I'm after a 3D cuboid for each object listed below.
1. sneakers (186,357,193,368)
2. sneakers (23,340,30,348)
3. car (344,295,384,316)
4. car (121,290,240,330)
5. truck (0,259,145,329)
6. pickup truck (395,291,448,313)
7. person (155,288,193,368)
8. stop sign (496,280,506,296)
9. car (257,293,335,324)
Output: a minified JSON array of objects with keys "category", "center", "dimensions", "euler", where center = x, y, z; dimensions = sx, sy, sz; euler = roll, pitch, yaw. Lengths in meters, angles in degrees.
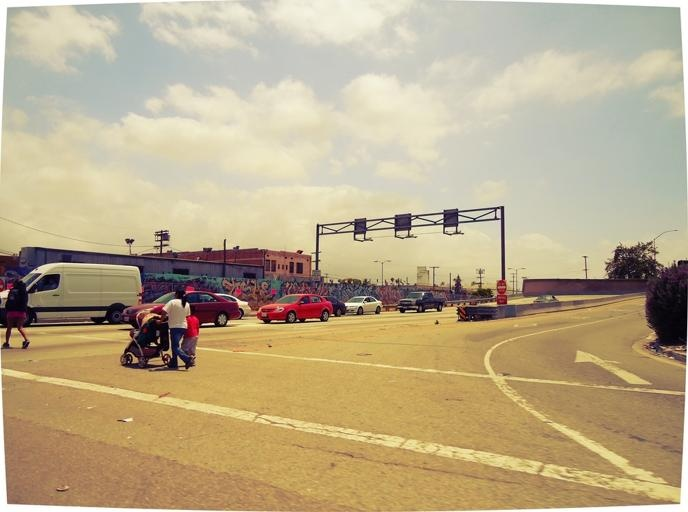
[{"category":"sneakers","center":[-3.455,2.385,13.200],"dimensions":[0.089,0.270,0.112],"euler":[15,18,-21]},{"category":"sneakers","center":[-8.385,2.331,15.620],"dimensions":[0.142,0.170,0.423],"euler":[-1,-10,-27]},{"category":"car","center":[1.260,3.487,41.476],"dimensions":[1.133,0.831,2.499],"euler":[-7,-12,35]},{"category":"car","center":[-6.110,2.089,23.734],"dimensions":[3.774,1.241,1.618],"euler":[8,-11,-43]},{"category":"truck","center":[-11.030,1.804,25.783],"dimensions":[6.031,2.833,2.708],"euler":[6,-9,-44]},{"category":"pickup truck","center":[6.150,3.759,47.369],"dimensions":[2.711,1.950,5.628],"euler":[3,5,16]},{"category":"person","center":[-3.740,1.633,13.243],"dimensions":[0.608,1.818,0.769],"euler":[-1,6,-17]},{"category":"stop sign","center":[9.925,1.979,37.468],"dimensions":[0.529,1.192,1.734],"euler":[2,5,14]},{"category":"car","center":[-2.501,2.536,28.766],"dimensions":[1.503,1.127,3.299],"euler":[-8,-13,39]}]
